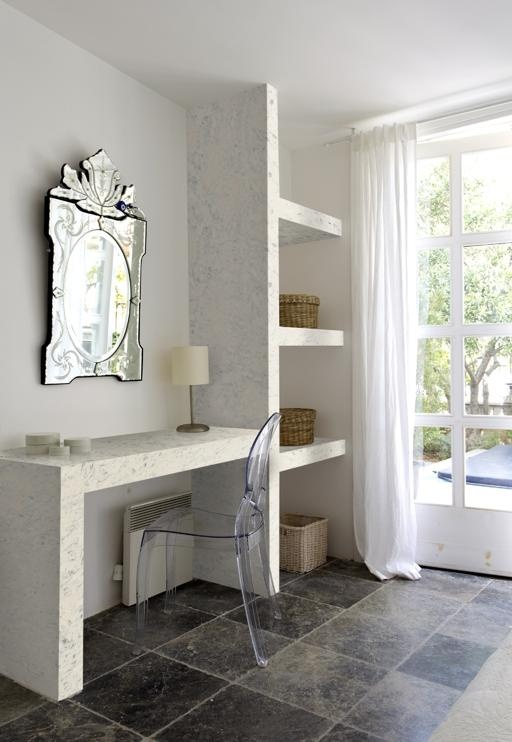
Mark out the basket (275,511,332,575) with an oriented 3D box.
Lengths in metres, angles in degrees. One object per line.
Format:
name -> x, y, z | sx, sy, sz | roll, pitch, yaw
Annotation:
basket -> 0.255, 0.925, 3.390 | 0.251, 0.203, 0.256 | -1, 0, 24

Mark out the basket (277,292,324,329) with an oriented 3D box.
basket -> 0.236, -0.311, 3.309 | 0.195, 0.129, 0.197 | -2, -3, 35

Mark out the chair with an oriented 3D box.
chair -> -0.183, 0.611, 2.574 | 0.566, 0.876, 0.473 | 3, 5, 13

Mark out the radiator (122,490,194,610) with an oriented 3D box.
radiator -> -0.433, 0.770, 2.673 | 0.091, 0.565, 0.500 | -2, -2, 30

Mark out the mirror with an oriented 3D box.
mirror -> -0.657, -0.432, 2.608 | 0.106, 0.959, 0.599 | 0, 0, 22

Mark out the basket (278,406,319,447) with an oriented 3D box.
basket -> 0.220, 0.290, 3.361 | 0.203, 0.154, 0.205 | -1, 0, -8
